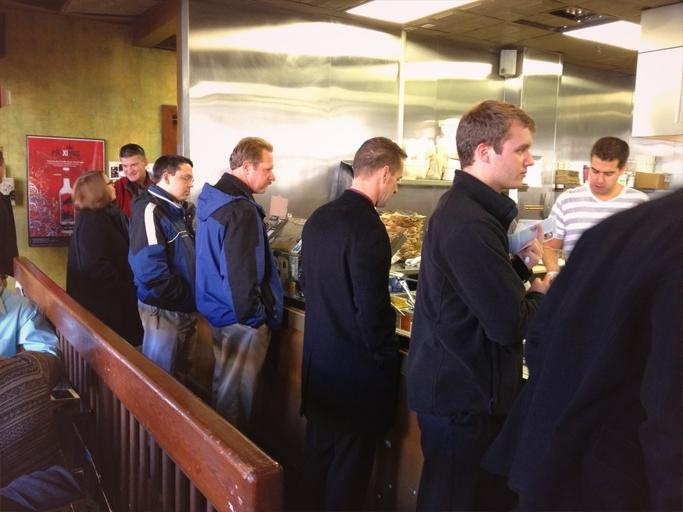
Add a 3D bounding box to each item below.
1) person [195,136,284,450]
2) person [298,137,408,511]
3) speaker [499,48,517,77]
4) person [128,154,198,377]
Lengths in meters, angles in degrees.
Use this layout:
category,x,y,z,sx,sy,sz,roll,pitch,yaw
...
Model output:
category,x,y,z,sx,sy,sz,roll,pitch,yaw
person,-0.566,0.209,3.119,0.494,1.723,0.481,-5,14,-19
person,0.032,0.378,2.557,0.464,1.801,0.541,0,13,2
speaker,1.788,-2.076,5.878,0.190,0.285,0.113,3,13,16
person,-1.101,0.131,3.417,0.394,1.482,0.407,-4,13,-15
